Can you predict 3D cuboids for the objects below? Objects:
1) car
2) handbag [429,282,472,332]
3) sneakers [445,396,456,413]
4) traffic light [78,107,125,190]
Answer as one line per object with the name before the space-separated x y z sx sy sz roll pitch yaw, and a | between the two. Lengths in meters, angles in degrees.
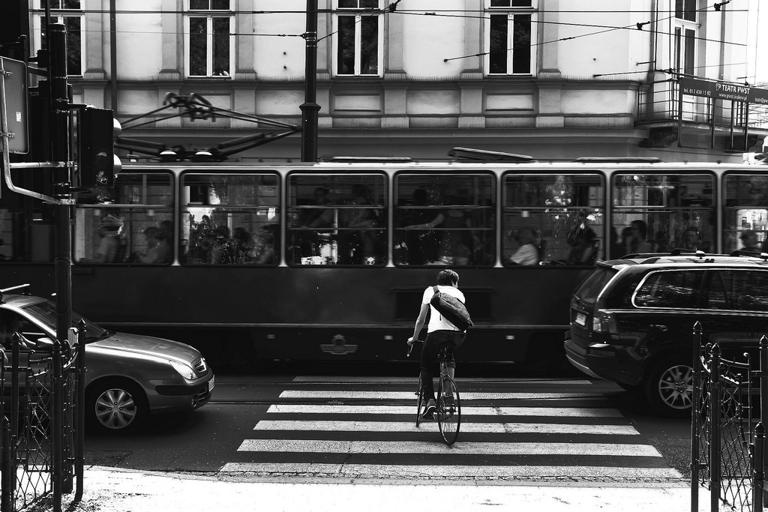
car | -4.484 1.719 19.339 3.405 2.063 2.076 0 4 -9
handbag | 0.940 0.799 19.132 0.643 0.396 1.109 24 4 -3
sneakers | 1.011 2.267 18.526 0.187 0.253 0.075 0 5 32
traffic light | -4.001 -1.490 16.695 0.496 1.129 0.221 0 4 -21
